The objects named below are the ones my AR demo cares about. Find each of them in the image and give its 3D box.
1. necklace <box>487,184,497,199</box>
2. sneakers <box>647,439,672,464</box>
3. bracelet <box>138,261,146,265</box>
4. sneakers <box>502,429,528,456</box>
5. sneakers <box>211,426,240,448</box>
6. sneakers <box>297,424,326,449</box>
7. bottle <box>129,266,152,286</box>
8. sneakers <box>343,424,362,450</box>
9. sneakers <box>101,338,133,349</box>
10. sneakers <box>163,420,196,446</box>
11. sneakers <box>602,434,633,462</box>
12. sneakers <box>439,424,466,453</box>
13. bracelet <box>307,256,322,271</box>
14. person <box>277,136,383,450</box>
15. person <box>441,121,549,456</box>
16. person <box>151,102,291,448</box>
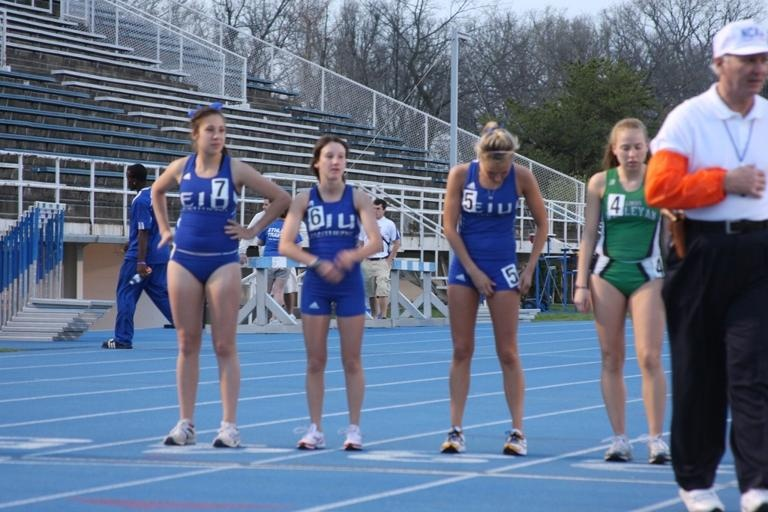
[{"bbox_3d":[0.791,-0.465,6.283,0.090,0.107,0.046,0,-1,3],"label":"necklace"},{"bbox_3d":[1.870,1.330,5.876,0.107,0.107,0.244,-2,-9,4],"label":"sneakers"},{"bbox_3d":[-3.271,0.087,11.721,0.104,0.048,0.162,-1,3,-19],"label":"bracelet"},{"bbox_3d":[0.935,1.322,6.152,0.165,0.157,0.166,0,3,7],"label":"sneakers"},{"bbox_3d":[-1.132,1.295,6.234,0.189,0.171,0.148,-1,3,-12],"label":"sneakers"},{"bbox_3d":[-0.509,1.325,6.251,0.110,0.139,0.245,-3,-8,18],"label":"sneakers"},{"bbox_3d":[-3.335,0.257,11.821,0.275,0.093,0.094,-30,-54,32],"label":"bottle"},{"bbox_3d":[-0.223,1.309,6.256,0.131,0.164,0.139,0,2,-5],"label":"sneakers"},{"bbox_3d":[-3.845,1.258,12.423,0.419,0.167,0.165,7,1,5],"label":"sneakers"},{"bbox_3d":[-1.472,1.302,6.348,0.119,0.133,0.279,-2,-7,21],"label":"sneakers"},{"bbox_3d":[1.610,1.322,5.941,0.179,0.160,0.154,1,3,16],"label":"sneakers"},{"bbox_3d":[0.496,1.318,6.206,0.166,0.159,0.172,0,3,5],"label":"sneakers"},{"bbox_3d":[-0.491,0.060,6.306,0.093,0.084,0.092,32,15,-10],"label":"bracelet"},{"bbox_3d":[-0.391,0.246,6.383,0.738,2.275,0.441,-1,2,-7],"label":"person"},{"bbox_3d":[0.814,0.134,6.383,0.737,2.224,0.410,0,2,8],"label":"person"},{"bbox_3d":[-1.256,0.115,6.519,1.090,2.525,0.685,0,2,4],"label":"person"}]
